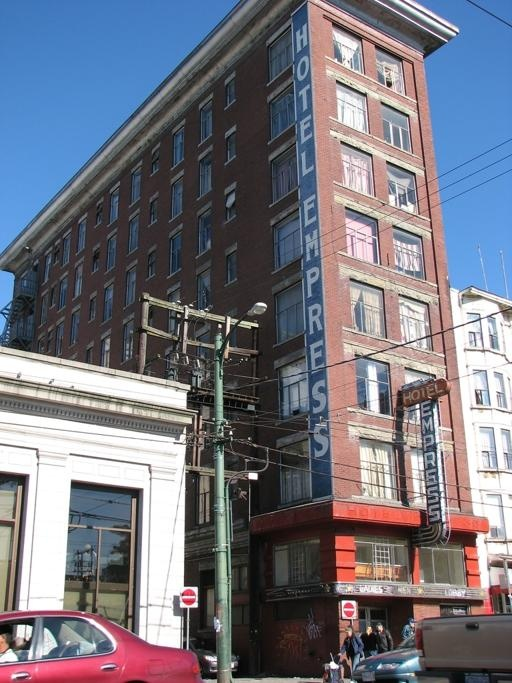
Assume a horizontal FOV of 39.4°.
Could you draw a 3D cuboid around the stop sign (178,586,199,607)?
[{"bbox_3d":[-1.869,6.942,19.423,0.471,0.498,0.868,2,-21,-6],"label":"stop sign"}]
